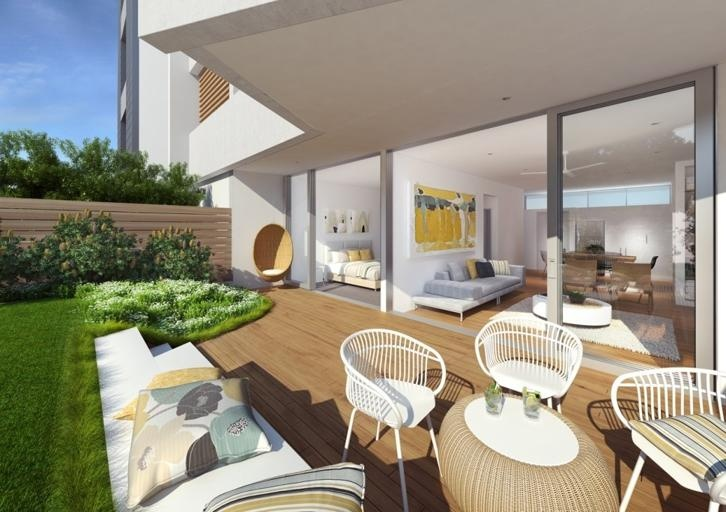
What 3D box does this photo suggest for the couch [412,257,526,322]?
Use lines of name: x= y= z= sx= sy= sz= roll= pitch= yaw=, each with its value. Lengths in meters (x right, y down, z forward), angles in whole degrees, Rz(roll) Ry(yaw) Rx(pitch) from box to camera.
couch: x=2.196 y=0.540 z=7.851 sx=1.163 sy=0.759 sz=3.161 roll=4 pitch=6 yaw=39

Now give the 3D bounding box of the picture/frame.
picture/frame: x=1.693 y=-0.750 z=7.962 sx=0.151 sy=1.302 sz=2.203 roll=4 pitch=7 yaw=45

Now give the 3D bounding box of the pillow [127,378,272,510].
pillow: x=-1.252 y=1.416 z=3.212 sx=0.819 sy=0.719 sz=1.025 roll=9 pitch=-1 yaw=-16

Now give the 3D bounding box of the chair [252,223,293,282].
chair: x=-2.049 y=0.028 z=8.820 sx=0.806 sy=1.389 sz=0.646 roll=10 pitch=5 yaw=44

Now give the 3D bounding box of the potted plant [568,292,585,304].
potted plant: x=2.653 y=0.509 z=4.838 sx=0.159 sy=0.087 sz=0.123 roll=0 pitch=3 yaw=-7

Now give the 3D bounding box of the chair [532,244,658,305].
chair: x=2.886 y=0.174 z=4.681 sx=1.082 sy=0.594 sz=0.875 roll=4 pitch=4 yaw=33
